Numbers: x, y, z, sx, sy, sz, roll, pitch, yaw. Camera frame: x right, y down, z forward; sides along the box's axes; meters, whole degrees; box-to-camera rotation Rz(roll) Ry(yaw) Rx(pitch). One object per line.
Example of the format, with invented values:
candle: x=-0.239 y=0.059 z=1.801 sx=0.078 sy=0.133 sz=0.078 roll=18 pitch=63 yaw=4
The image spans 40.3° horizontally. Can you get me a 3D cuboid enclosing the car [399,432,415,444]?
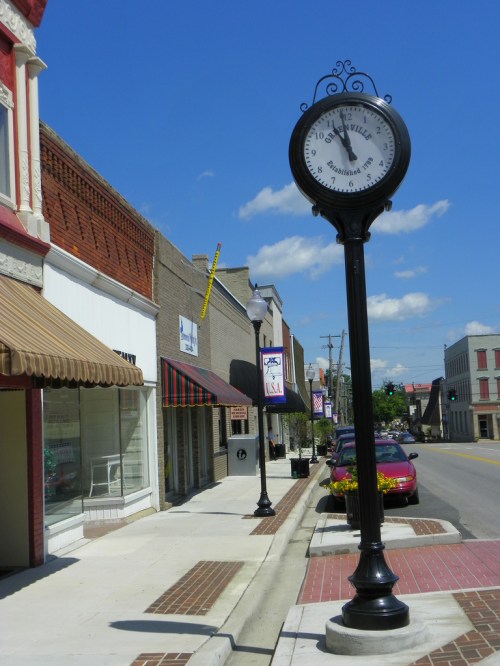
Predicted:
car: x=16.002 y=10.929 z=70.289 sx=0.944 sy=0.701 sz=2.125 roll=0 pitch=4 yaw=11

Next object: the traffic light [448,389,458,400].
traffic light: x=17.873 y=5.516 z=60.558 sx=0.495 sy=1.019 sz=1.756 roll=-5 pitch=-10 yaw=7

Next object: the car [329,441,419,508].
car: x=2.660 y=2.961 z=14.288 sx=1.393 sy=0.959 sz=2.886 roll=-4 pitch=-14 yaw=4
